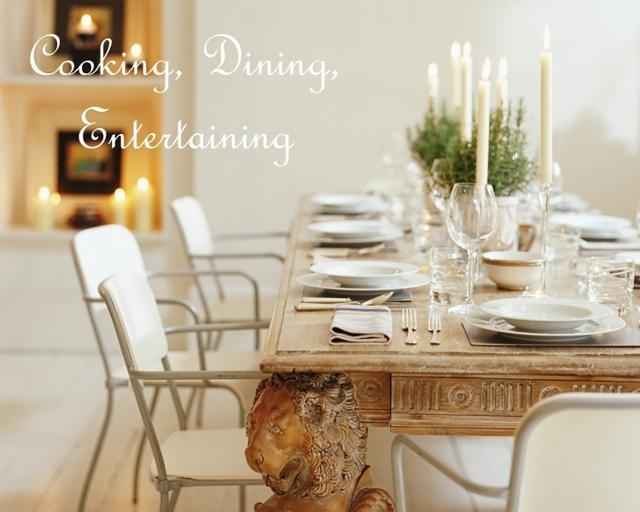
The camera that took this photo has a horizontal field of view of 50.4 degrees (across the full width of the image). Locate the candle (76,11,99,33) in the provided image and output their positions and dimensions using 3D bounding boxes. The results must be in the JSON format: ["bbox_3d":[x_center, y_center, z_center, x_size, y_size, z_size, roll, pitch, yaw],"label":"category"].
[{"bbox_3d":[-1.272,-1.251,3.722,0.116,0.116,0.116,-23,43,-38],"label":"candle"}]

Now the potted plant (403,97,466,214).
[{"bbox_3d":[0.339,-0.380,2.136,0.150,0.532,0.187,-2,-14,0],"label":"potted plant"}]

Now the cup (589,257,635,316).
[{"bbox_3d":[0.616,0.070,1.527,0.104,0.138,0.124,-1,-3,3],"label":"cup"}]

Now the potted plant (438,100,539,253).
[{"bbox_3d":[0.507,-0.210,2.079,0.362,0.542,0.370,1,2,19],"label":"potted plant"}]

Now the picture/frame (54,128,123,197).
[{"bbox_3d":[-1.309,-0.521,3.846,0.367,0.386,0.034,-5,29,-31],"label":"picture/frame"}]

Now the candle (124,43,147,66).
[{"bbox_3d":[-1.015,-1.098,3.714,0.104,0.129,0.145,-3,11,-15],"label":"candle"}]

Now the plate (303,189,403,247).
[{"bbox_3d":[0.126,-0.139,2.449,0.282,0.072,0.283,-6,20,-11],"label":"plate"}]
